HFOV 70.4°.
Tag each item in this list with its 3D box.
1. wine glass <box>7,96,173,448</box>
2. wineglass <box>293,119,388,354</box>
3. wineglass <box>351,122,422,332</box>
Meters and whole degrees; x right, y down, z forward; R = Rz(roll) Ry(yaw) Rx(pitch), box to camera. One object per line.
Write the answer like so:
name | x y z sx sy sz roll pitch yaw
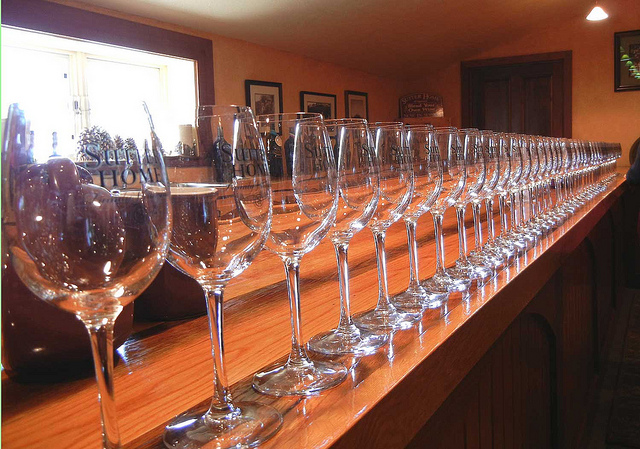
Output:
wine glass | -0.139 0.026 0.288 0.060 0.213 0.088 7 12 43
wineglass | 0.033 0.002 0.484 0.086 0.232 0.166 1 9 14
wineglass | 0.076 -0.004 0.600 0.087 0.284 0.093 -5 19 4
